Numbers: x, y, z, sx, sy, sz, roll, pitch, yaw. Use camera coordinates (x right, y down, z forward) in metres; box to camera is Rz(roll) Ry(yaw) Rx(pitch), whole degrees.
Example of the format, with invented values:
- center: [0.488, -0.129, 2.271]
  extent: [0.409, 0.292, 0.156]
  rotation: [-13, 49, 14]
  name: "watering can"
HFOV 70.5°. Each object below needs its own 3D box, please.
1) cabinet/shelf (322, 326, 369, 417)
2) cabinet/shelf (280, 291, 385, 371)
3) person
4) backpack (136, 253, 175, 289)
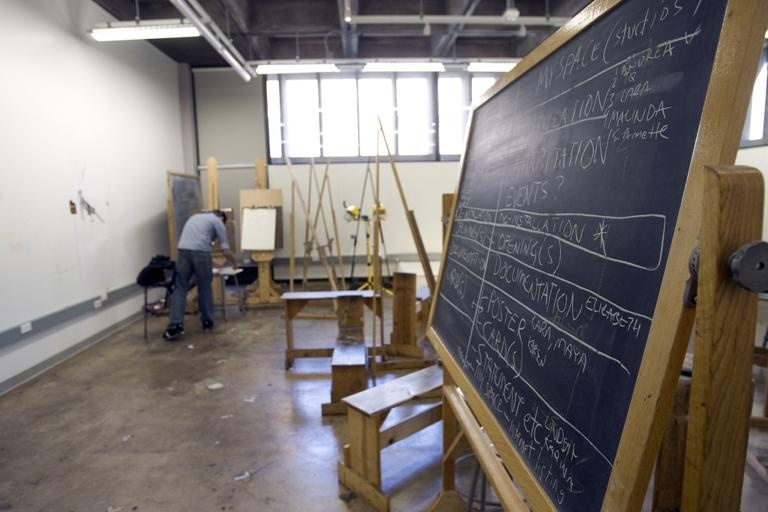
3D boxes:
- center: [-0.273, 0.938, 4.601]
  extent: [0.368, 0.441, 1.137]
  rotation: [-1, 6, -2]
  name: "cabinet/shelf"
- center: [-0.435, 0.646, 4.788]
  extent: [0.849, 0.685, 0.343]
  rotation: [-2, -32, -5]
  name: "cabinet/shelf"
- center: [-2.032, 0.190, 5.921]
  extent: [0.766, 1.285, 0.410]
  rotation: [-5, 10, -24]
  name: "person"
- center: [-2.501, 0.145, 5.956]
  extent: [0.424, 0.196, 0.342]
  rotation: [-2, 4, -39]
  name: "backpack"
